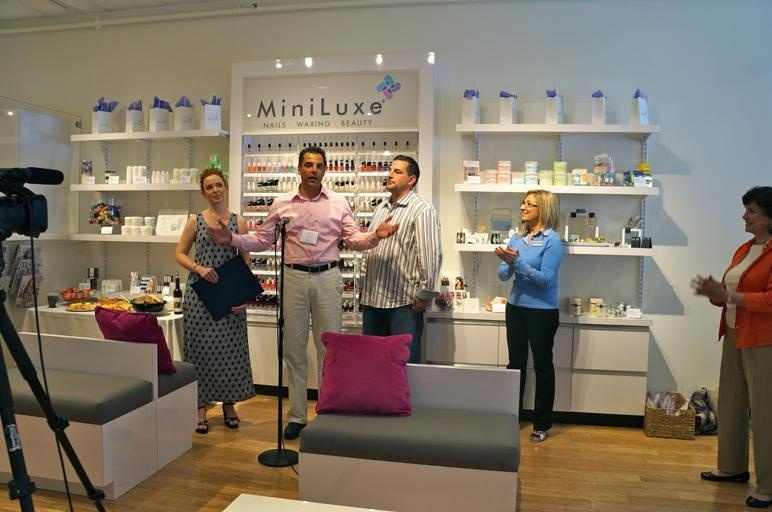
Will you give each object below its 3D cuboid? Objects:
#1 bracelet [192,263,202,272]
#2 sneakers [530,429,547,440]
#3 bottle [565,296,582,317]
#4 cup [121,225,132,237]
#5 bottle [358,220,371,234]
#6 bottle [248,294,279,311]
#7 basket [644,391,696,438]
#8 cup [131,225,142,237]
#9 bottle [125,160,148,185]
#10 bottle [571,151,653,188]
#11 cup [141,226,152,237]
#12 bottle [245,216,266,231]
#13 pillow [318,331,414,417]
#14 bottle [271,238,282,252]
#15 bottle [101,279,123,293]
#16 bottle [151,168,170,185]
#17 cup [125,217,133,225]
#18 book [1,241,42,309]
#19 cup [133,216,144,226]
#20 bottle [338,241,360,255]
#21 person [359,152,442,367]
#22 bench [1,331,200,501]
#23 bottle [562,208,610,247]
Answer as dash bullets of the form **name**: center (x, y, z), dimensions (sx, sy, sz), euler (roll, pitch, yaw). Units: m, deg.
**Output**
- **bracelet**: center (-1.800, 0.111, 5.944), dimensions (0.062, 0.048, 0.063), euler (1, 5, 7)
- **sneakers**: center (1.518, 1.773, 6.123), dimensions (0.143, 0.068, 0.109), euler (4, 15, 9)
- **bottle**: center (2.020, 0.531, 6.620), dimensions (0.130, 0.180, 0.182), euler (1, -2, -40)
- **cup**: center (-3.055, -0.301, 7.316), dimensions (0.128, 0.117, 0.130), euler (0, 4, 0)
- **bottle**: center (-0.217, -0.317, 6.640), dimensions (0.157, 0.157, 0.085), euler (-2, -13, 7)
- **bottle**: center (-1.362, 0.479, 6.785), dimensions (0.425, 0.223, 0.097), euler (-2, -17, 10)
- **basket**: center (2.900, 1.639, 6.358), dimensions (0.312, 0.229, 0.527), euler (-1, -8, 14)
- **cup**: center (-2.916, -0.304, 7.273), dimensions (0.108, 0.107, 0.107), euler (-1, -1, 0)
- **bottle**: center (-2.931, -0.995, 7.333), dimensions (0.248, 0.254, 0.239), euler (1, 0, -8)
- **bottle**: center (2.237, -0.901, 6.711), dimensions (1.148, 0.476, 0.347), euler (0, -3, 8)
- **cup**: center (-2.772, -0.295, 7.238), dimensions (0.117, 0.106, 0.119), euler (0, 0, 0)
- **bottle**: center (-1.459, -0.381, 6.892), dimensions (0.202, 0.082, 0.261), euler (-1, 7, 0)
- **pillow**: center (-0.150, 0.980, 5.071), dimensions (0.610, 0.587, 0.231), euler (-1, -15, 2)
- **bottle**: center (-1.124, -0.119, 6.487), dimensions (0.128, 0.156, 0.361), euler (1, 6, -9)
- **bottle**: center (-3.215, 0.339, 7.309), dimensions (0.176, 0.134, 0.180), euler (2, 2, 0)
- **bottle**: center (-2.629, -0.928, 7.327), dimensions (0.218, 0.170, 0.217), euler (1, 5, 0)
- **cup**: center (-3.019, -0.417, 7.309), dimensions (0.097, 0.077, 0.099), euler (0, 1, 0)
- **book**: center (-3.817, 0.199, 6.470), dimensions (0.245, 0.650, 0.658), euler (0, -9, -4)
- **cup**: center (-2.912, -0.417, 7.328), dimensions (0.105, 0.091, 0.107), euler (-1, 5, 0)
- **bottle**: center (-0.360, -0.092, 6.305), dimensions (0.125, 0.124, 0.069), euler (3, 28, 10)
- **person**: center (0.159, 0.026, 5.897), dimensions (0.760, 1.877, 0.593), euler (6, 15, 19)
- **bench**: center (-2.437, 1.323, 5.523), dimensions (1.352, 1.045, 1.340), euler (1, 1, 18)
- **bottle**: center (2.160, -0.322, 6.621), dimensions (0.470, 0.329, 0.466), euler (1, 14, 0)
